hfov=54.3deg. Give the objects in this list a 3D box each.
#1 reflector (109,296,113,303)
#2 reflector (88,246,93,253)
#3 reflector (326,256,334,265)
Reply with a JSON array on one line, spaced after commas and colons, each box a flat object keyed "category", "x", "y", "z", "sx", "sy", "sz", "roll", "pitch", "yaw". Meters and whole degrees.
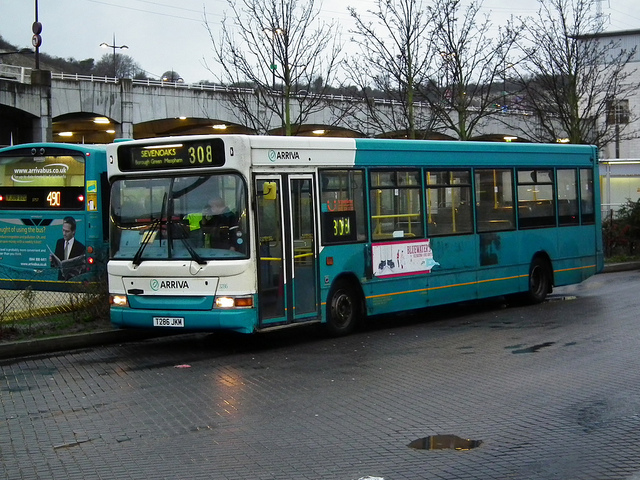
[{"category": "reflector", "x": -3.786, "y": 1.097, "z": 11.276, "sx": 0.108, "sy": 0.136, "sz": 0.109, "roll": 4, "pitch": -5, "yaw": -36}, {"category": "reflector", "x": -6.037, "y": 0.261, "z": 16.425, "sx": 0.136, "sy": 0.151, "sz": 0.141, "roll": -9, "pitch": -23, "yaw": -44}, {"category": "reflector", "x": 0.178, "y": 0.398, "z": 11.734, "sx": 0.019, "sy": 0.155, "sz": 0.141, "roll": -4, "pitch": -2, "yaw": 44}]
